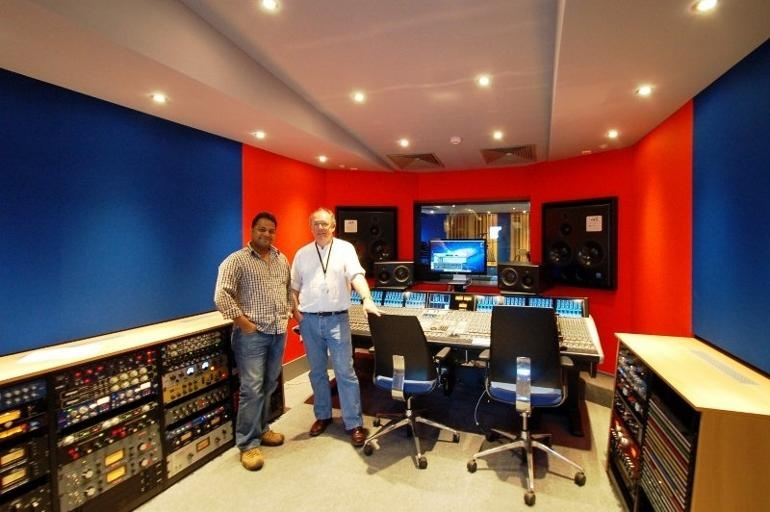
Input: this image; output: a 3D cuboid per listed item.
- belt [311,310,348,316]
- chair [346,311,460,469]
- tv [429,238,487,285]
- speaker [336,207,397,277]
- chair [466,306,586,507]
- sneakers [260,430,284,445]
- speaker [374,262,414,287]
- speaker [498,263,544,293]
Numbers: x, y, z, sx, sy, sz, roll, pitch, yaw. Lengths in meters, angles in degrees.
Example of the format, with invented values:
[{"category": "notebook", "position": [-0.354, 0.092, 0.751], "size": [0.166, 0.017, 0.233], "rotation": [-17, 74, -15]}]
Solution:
[{"category": "belt", "position": [-0.491, 0.500, 4.392], "size": [0.299, 0.056, 0.060], "rotation": [-1, 1, -3]}, {"category": "chair", "position": [0.191, 1.052, 4.464], "size": [0.854, 1.193, 0.910], "rotation": [-2, 3, -38]}, {"category": "tv", "position": [0.838, 0.043, 5.781], "size": [0.611, 0.444, 0.176], "rotation": [0, -1, 16]}, {"category": "speaker", "position": [-0.211, -0.294, 6.635], "size": [0.692, 0.887, 0.468], "rotation": [3, 33, 9]}, {"category": "chair", "position": [1.112, 1.125, 4.172], "size": [0.861, 1.489, 0.791], "rotation": [-1, 1, -10]}, {"category": "sneakers", "position": [-0.989, 1.614, 4.450], "size": [0.237, 0.100, 0.083], "rotation": [0, 4, 5]}, {"category": "speaker", "position": [0.088, 0.135, 5.493], "size": [0.476, 0.312, 0.255], "rotation": [0, 0, 7]}, {"category": "speaker", "position": [1.448, 0.226, 5.336], "size": [0.533, 0.367, 0.296], "rotation": [-1, 0, 42]}]
